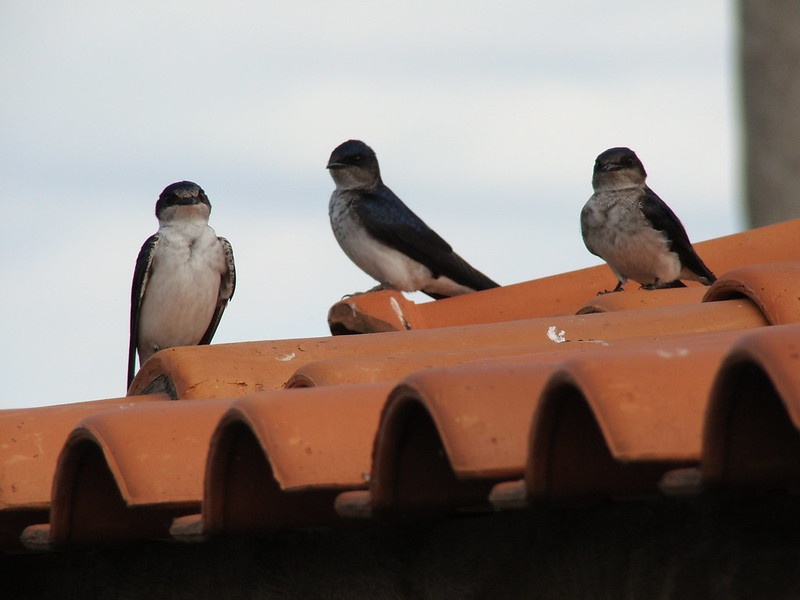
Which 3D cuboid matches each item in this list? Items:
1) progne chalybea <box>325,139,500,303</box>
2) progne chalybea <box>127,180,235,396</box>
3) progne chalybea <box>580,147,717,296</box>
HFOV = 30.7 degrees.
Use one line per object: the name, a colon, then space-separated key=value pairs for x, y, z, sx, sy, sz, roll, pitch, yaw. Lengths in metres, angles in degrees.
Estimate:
progne chalybea: x=-0.061 y=-0.518 z=8.577 sx=0.639 sy=1.043 sz=0.887 roll=-1 pitch=-6 yaw=-35
progne chalybea: x=-1.109 y=-0.121 z=7.222 sx=0.542 sy=1.032 sz=0.593 roll=-4 pitch=-5 yaw=-13
progne chalybea: x=1.326 y=-0.407 z=7.767 sx=0.522 sy=0.685 sz=0.901 roll=-5 pitch=-6 yaw=44
